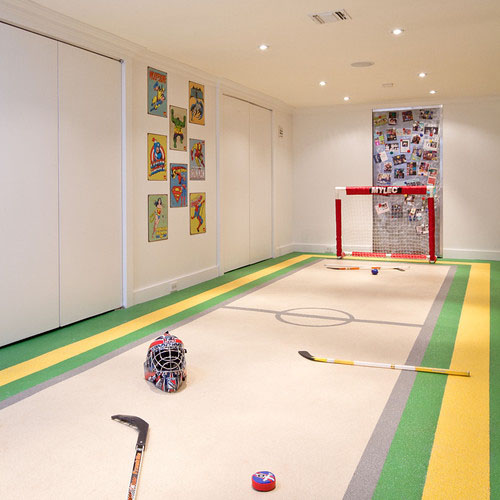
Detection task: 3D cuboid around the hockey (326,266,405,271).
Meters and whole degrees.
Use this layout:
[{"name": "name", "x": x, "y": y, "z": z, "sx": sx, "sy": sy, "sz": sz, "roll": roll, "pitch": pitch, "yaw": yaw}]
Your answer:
[{"name": "hockey", "x": 1.988, "y": 0.319, "z": 6.475, "sx": 1.331, "sy": 0.063, "sz": 0.545, "roll": 0, "pitch": 3, "yaw": 10}]
